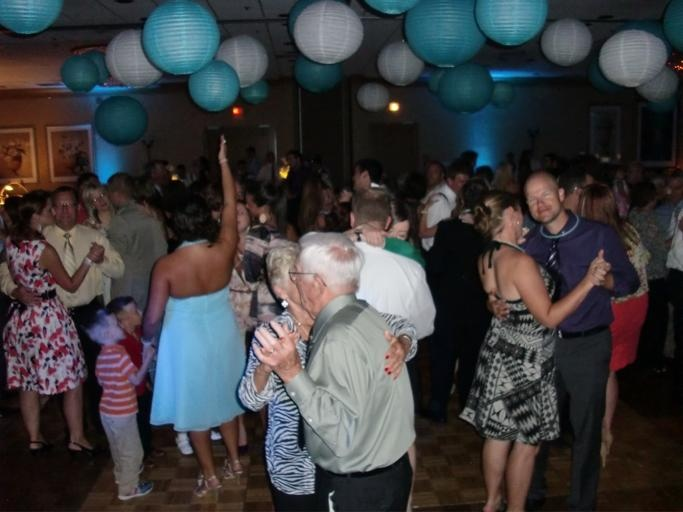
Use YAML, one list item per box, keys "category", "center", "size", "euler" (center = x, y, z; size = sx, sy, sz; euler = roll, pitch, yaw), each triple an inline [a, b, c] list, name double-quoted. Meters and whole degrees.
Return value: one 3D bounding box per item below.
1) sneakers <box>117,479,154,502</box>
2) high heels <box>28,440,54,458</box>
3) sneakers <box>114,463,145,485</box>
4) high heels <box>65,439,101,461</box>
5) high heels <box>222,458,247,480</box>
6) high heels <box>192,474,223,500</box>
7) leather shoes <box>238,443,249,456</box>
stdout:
- category: "sneakers"
  center: [-1.454, 1.644, 4.223]
  size: [0.178, 0.080, 0.102]
  euler: [-7, 17, -27]
- category: "high heels"
  center: [-2.331, 1.512, 4.668]
  size: [0.166, 0.095, 0.063]
  euler: [10, -11, 11]
- category: "sneakers"
  center: [-1.519, 1.564, 4.328]
  size: [0.129, 0.144, 0.236]
  euler: [0, 35, -1]
- category: "high heels"
  center: [-1.967, 1.508, 4.636]
  size: [0.278, 0.122, 0.107]
  euler: [2, 23, -9]
- category: "high heels"
  center: [-0.780, 1.566, 4.355]
  size: [0.156, 0.122, 0.094]
  euler: [2, 1, -8]
- category: "high heels"
  center: [-0.945, 1.638, 4.227]
  size: [0.194, 0.100, 0.124]
  euler: [-16, 45, 18]
- category: "leather shoes"
  center: [-0.750, 1.498, 4.602]
  size: [0.038, 0.047, 0.113]
  euler: [2, 18, -3]
